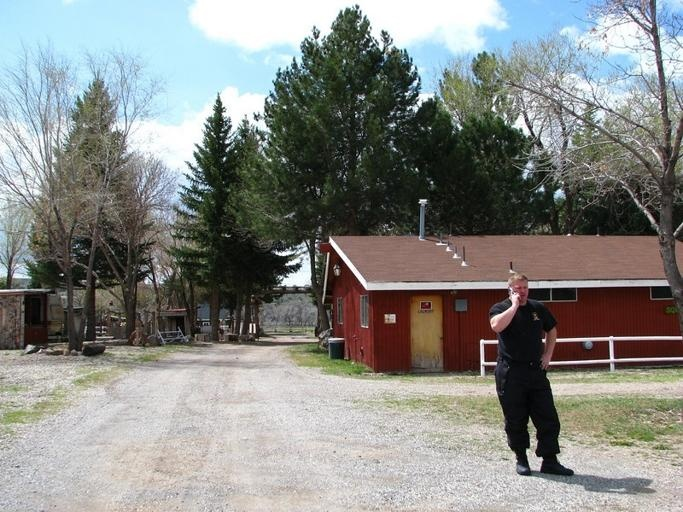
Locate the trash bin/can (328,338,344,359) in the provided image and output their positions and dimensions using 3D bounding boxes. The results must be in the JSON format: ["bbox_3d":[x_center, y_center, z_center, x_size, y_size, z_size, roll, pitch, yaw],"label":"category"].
[{"bbox_3d":[-0.220,3.776,25.977,0.615,0.831,0.710,0,-8,-4],"label":"trash bin/can"}]

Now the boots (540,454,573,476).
[{"bbox_3d":[3.146,3.137,9.563,0.531,0.424,0.216,0,-5,-3],"label":"boots"}]

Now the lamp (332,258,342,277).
[{"bbox_3d":[-0.129,0.569,27.548,0.453,0.613,0.510,-2,2,-15],"label":"lamp"}]

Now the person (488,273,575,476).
[{"bbox_3d":[2.726,1.753,9.490,1.069,2.856,0.805,4,13,16],"label":"person"}]
